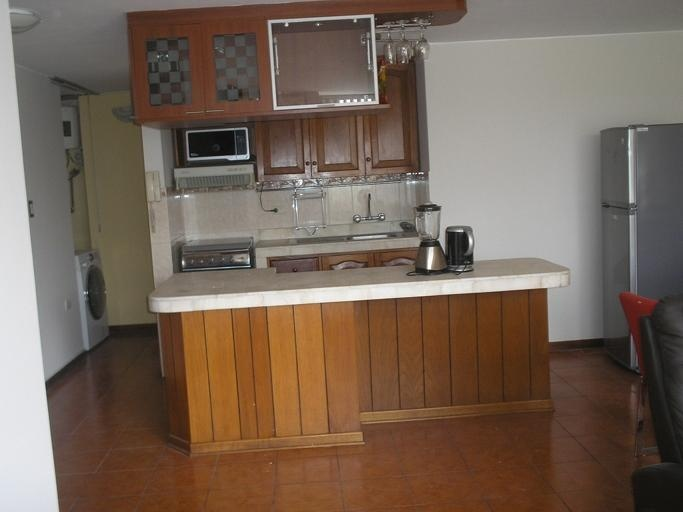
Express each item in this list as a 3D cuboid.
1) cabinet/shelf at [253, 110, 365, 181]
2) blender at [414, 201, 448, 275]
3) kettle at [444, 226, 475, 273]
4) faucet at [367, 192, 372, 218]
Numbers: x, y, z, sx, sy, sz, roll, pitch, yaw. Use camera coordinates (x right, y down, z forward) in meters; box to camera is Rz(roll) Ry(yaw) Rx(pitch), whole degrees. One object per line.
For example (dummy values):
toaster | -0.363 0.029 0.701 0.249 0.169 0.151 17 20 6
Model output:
cabinet/shelf | -0.299 -1.028 5.807 1.025 0.535 0.186 -2 11 8
blender | 0.600 -0.132 4.131 0.212 0.455 0.267 -1 12 9
kettle | 0.797 -0.053 4.135 0.186 0.295 0.168 -2 11 8
faucet | 0.276 -0.520 6.198 0.047 0.235 0.056 -1 11 9
